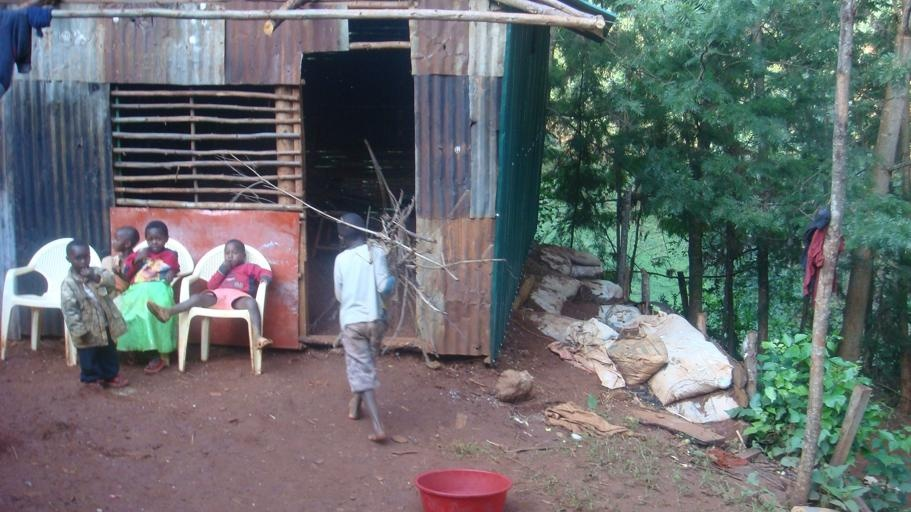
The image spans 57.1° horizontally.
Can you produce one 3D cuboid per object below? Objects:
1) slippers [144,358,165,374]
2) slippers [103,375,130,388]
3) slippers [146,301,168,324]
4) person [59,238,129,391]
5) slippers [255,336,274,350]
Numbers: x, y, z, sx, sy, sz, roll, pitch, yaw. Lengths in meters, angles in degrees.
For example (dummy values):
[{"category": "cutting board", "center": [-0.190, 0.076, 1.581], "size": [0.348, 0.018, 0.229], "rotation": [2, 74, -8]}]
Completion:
[{"category": "slippers", "center": [-4.567, 1.696, 12.787], "size": [0.174, 0.115, 0.314], "rotation": [1, 1, 4]}, {"category": "slippers", "center": [-5.033, 1.876, 12.371], "size": [0.305, 0.142, 0.160], "rotation": [-3, 2, -3]}, {"category": "slippers", "center": [-4.446, 0.857, 12.535], "size": [0.314, 0.331, 0.114], "rotation": [-3, 9, -26]}, {"category": "person", "center": [-5.307, 0.868, 12.251], "size": [0.846, 2.170, 0.418], "rotation": [-3, 9, -24]}, {"category": "slippers", "center": [-2.940, 1.335, 12.712], "size": [0.152, 0.107, 0.259], "rotation": [-5, 3, -23]}]
